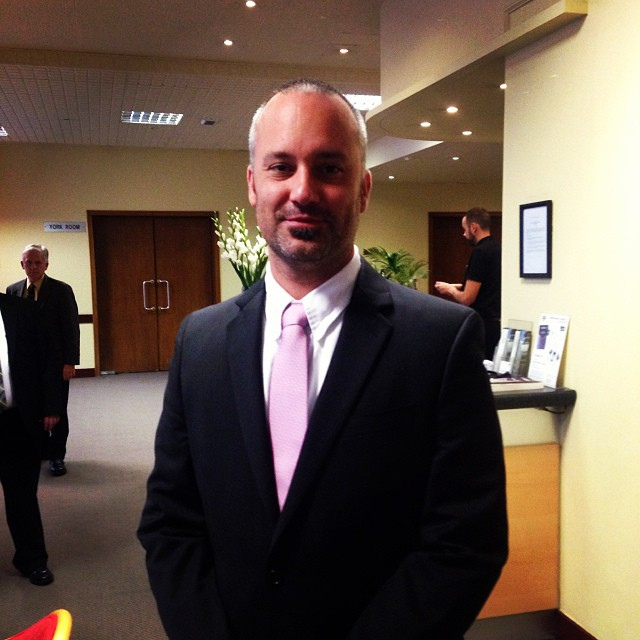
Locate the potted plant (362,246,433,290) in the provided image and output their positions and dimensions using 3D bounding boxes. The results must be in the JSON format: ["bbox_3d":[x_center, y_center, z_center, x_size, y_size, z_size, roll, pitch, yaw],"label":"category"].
[{"bbox_3d":[0.850,-0.623,5.768,0.728,0.291,0.638,-2,-1,-15],"label":"potted plant"}]

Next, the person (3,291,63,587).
[{"bbox_3d":[-1.665,0.574,3.114,0.343,1.492,1.222,-3,8,-25],"label":"person"}]

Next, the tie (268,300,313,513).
[{"bbox_3d":[-0.033,0.116,0.766,0.056,0.286,0.032,-1,-33,11],"label":"tie"}]

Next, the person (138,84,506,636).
[{"bbox_3d":[-0.008,0.049,0.801,0.548,0.771,0.283,1,7,8],"label":"person"}]
